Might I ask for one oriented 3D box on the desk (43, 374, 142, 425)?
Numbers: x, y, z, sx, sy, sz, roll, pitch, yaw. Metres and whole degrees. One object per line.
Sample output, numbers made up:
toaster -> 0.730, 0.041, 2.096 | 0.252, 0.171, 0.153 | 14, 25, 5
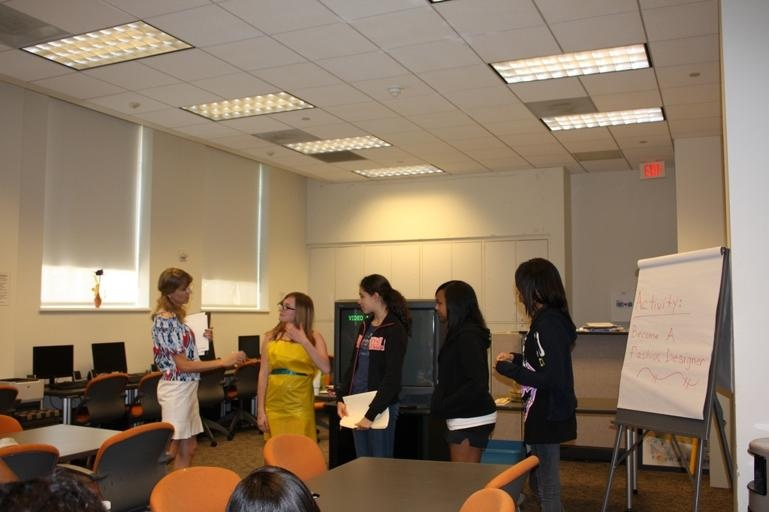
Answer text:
desk -> -3.328, 1.569, 6.361 | 0.701, 0.892, 0.697 | 0, -4, 29

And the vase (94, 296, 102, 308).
vase -> -3.855, 0.610, 7.398 | 0.081, 0.171, 0.199 | -1, -3, -27

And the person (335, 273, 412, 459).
person -> -0.096, 0.814, 4.051 | 0.575, 1.352, 0.630 | -4, -3, 28

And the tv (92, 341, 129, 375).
tv -> -3.428, 1.307, 6.996 | 0.111, 0.402, 0.450 | -13, -10, 39

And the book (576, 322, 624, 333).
book -> 2.544, 0.839, 6.426 | 0.483, 0.084, 0.286 | -4, -3, 27

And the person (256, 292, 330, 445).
person -> -0.707, 1.045, 4.225 | 0.549, 1.439, 0.456 | 4, 2, 7

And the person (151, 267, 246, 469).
person -> -1.554, 0.912, 4.433 | 0.577, 1.661, 0.500 | -1, -3, -19

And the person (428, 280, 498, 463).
person -> 0.532, 0.782, 3.799 | 0.416, 1.226, 0.392 | -1, -3, -28

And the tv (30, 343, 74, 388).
tv -> -3.918, 1.290, 6.456 | 0.153, 0.466, 0.480 | -14, -12, 43

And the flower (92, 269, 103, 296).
flower -> -3.853, 0.325, 7.407 | 0.132, 0.319, 0.268 | -1, -3, -28
